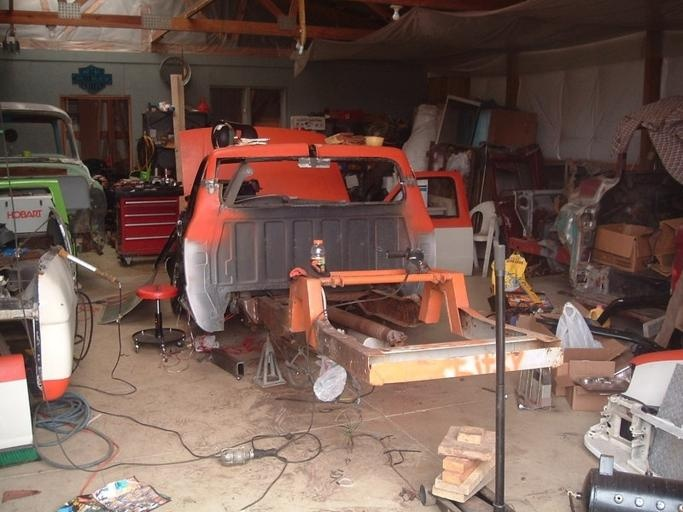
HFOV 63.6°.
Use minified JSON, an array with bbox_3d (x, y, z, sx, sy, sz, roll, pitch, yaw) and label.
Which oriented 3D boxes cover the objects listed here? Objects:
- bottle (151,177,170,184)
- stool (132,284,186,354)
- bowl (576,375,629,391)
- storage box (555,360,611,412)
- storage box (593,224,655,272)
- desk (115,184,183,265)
[{"bbox_3d":[-3.067,-1.292,9.398,0.183,0.087,0.235,-2,4,-31],"label":"bottle"},{"bbox_3d":[-1.828,0.626,5.518,0.562,0.569,0.535,2,6,6],"label":"stool"},{"bbox_3d":[1.989,0.973,4.211,0.352,0.090,0.209,0,14,1],"label":"bowl"},{"bbox_3d":[1.989,1.054,4.457,0.513,0.332,0.580,1,-7,32],"label":"storage box"},{"bbox_3d":[3.314,-0.143,6.521,0.595,0.396,0.601,12,14,33],"label":"storage box"},{"bbox_3d":[-3.068,-0.493,9.302,1.186,1.260,0.985,-1,-2,-1],"label":"desk"}]
